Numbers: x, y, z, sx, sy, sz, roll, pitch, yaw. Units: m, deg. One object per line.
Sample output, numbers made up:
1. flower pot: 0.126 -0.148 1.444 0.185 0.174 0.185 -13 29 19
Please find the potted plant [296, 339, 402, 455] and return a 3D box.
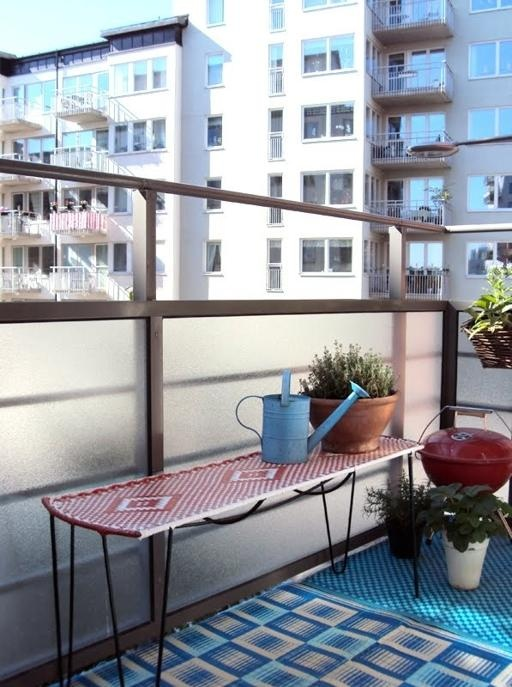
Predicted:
1. potted plant: 0.307 0.151 1.915 0.289 0.301 0.297 -1 0 22
